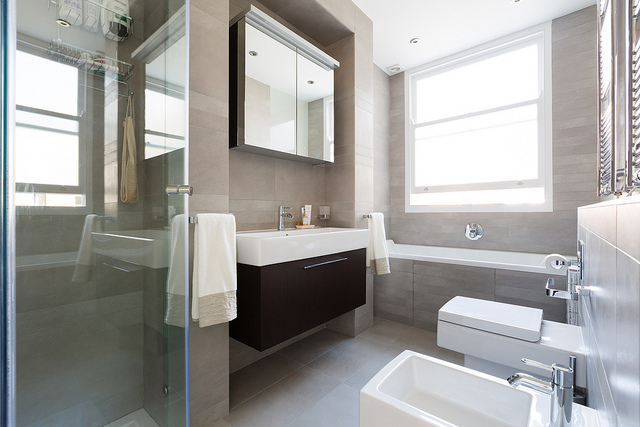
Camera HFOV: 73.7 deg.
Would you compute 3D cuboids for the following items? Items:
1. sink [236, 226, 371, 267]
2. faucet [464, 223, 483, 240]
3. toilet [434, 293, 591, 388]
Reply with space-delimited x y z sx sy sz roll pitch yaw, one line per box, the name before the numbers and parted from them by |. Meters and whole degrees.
sink | -0.102 0.226 3.075 1.065 0.183 0.247 -3 3 -45
faucet | 1.595 0.184 4.378 0.155 0.153 0.155 11 3 42
toilet | 1.187 0.886 2.772 0.845 0.510 0.619 9 8 34
